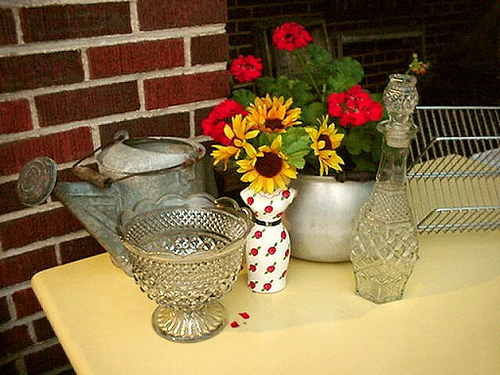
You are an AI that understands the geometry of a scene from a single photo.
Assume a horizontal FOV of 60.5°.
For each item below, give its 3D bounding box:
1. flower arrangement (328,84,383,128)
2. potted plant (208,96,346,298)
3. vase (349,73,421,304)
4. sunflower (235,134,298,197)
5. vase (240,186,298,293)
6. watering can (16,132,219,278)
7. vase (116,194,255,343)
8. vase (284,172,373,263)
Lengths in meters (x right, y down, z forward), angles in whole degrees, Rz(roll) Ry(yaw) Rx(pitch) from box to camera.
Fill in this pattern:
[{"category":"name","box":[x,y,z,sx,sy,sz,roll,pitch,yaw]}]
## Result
[{"category":"flower arrangement","box":[0.199,-0.156,0.830,0.064,0.089,0.077,-10,25,-28]},{"category":"potted plant","box":[0.044,0.024,0.862,0.284,0.353,0.173,3,8,-4]},{"category":"vase","box":[0.273,0.007,0.838,0.146,0.430,0.141,4,12,4]},{"category":"sunflower","box":[0.029,-0.038,0.767,0.108,0.109,0.037,1,20,2]},{"category":"vase","box":[0.036,0.111,0.904,0.130,0.207,0.113,-5,18,-10]},{"category":"watering can","box":[-0.277,-0.026,0.882,0.357,0.279,0.299,21,32,37]},{"category":"vase","box":[-0.111,0.161,0.784,0.234,0.192,0.230,-8,12,-37]},{"category":"vase","box":[0.174,0.051,0.989,0.181,0.168,0.179,6,11,22]}]
